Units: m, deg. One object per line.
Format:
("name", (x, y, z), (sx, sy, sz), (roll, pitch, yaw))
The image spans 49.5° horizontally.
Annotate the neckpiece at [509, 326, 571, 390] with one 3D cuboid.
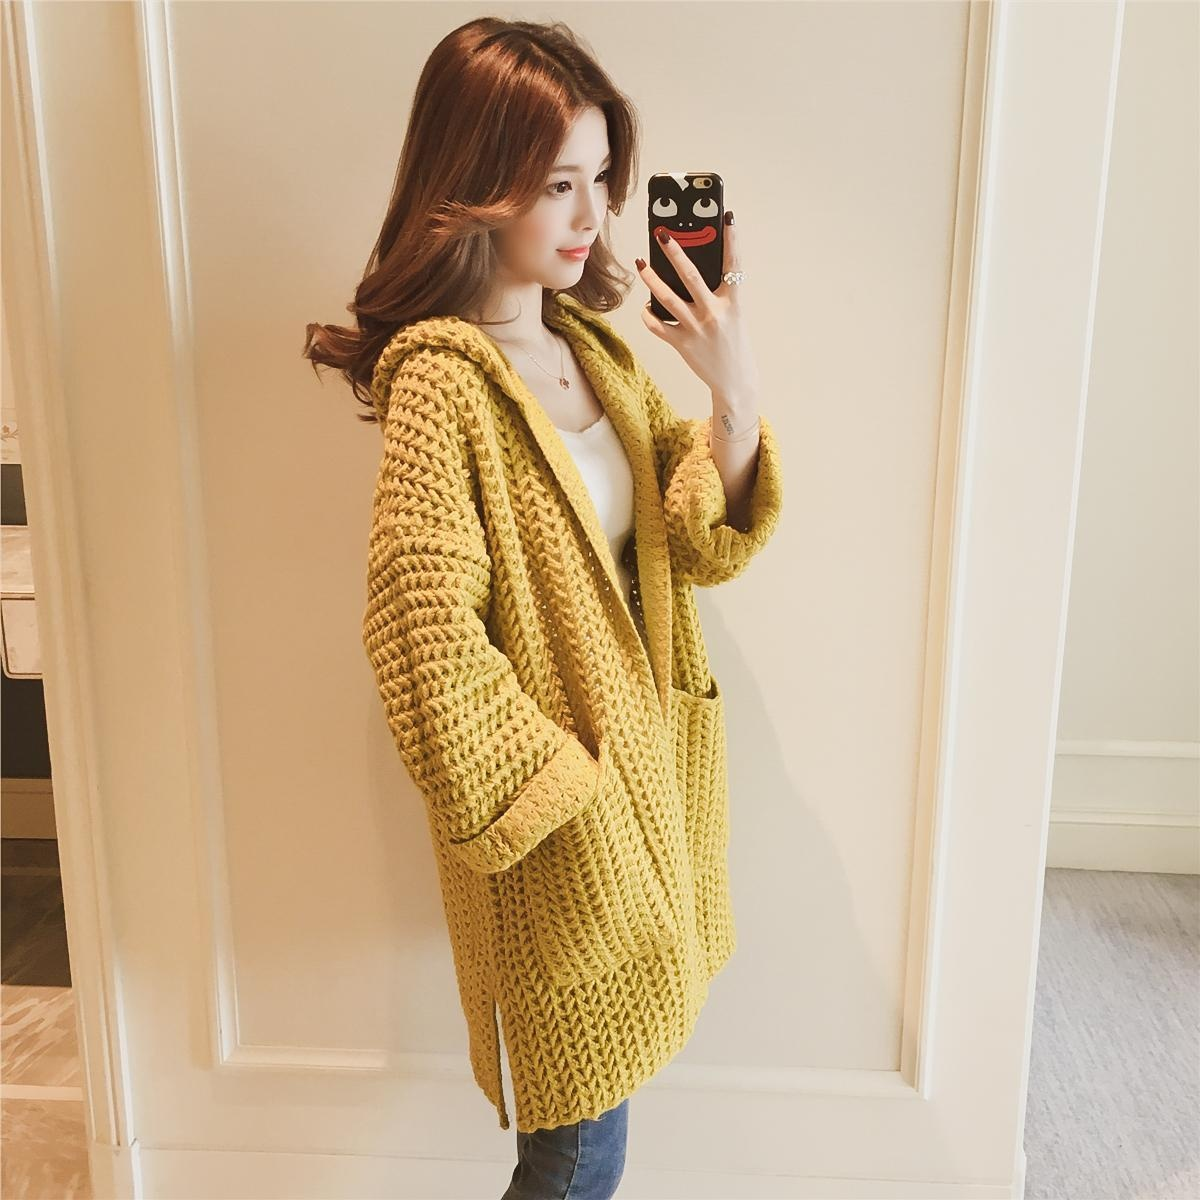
("neckpiece", (-0.060, -0.265, 1.421), (0.011, 0.040, 0.043), (-8, 25, 43))
